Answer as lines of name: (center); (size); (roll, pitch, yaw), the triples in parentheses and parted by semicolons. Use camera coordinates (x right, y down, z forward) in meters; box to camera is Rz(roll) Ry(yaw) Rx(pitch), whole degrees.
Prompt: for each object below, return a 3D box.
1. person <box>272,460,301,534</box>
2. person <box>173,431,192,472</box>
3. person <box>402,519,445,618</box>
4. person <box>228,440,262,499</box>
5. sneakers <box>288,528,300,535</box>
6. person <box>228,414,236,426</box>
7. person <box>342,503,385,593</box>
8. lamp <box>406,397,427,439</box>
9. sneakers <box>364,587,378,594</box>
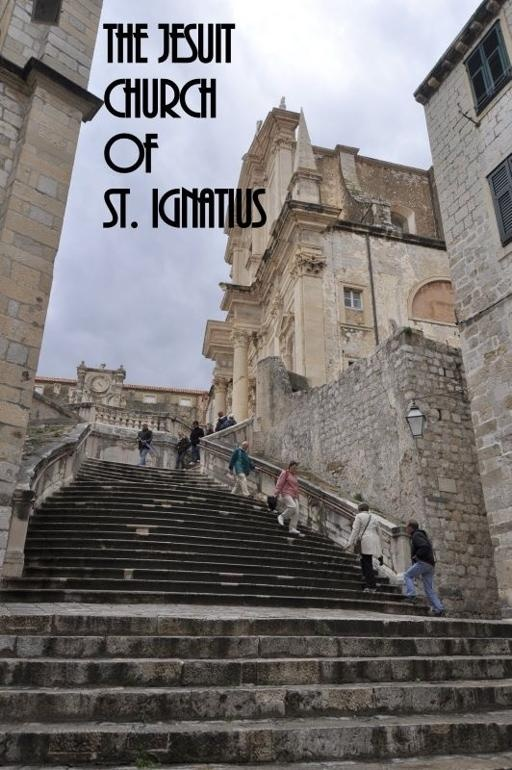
person: (0.591, 2.122, 9.825); (0.476, 1.277, 1.015); (2, -17, 3)
person: (-2.620, 2.410, 18.866); (0.561, 0.643, 1.577); (21, 12, -1)
person: (2.320, 2.534, 7.440); (0.381, 1.218, 0.706); (9, -18, -21)
person: (-0.274, 2.090, 12.851); (0.857, 1.638, 0.702); (-15, -26, 30)
sneakers: (0.679, 2.627, 9.468); (0.190, 0.112, 0.249); (1, -18, 6)
person: (-1.009, 1.502, 22.558); (0.364, 0.444, 0.962); (2, -1, -7)
person: (1.722, 2.519, 8.380); (0.498, 1.322, 1.296); (-1, -18, 13)
lamp: (2.825, 0.573, 9.411); (0.265, 0.742, 0.532); (-4, -19, 20)
sneakers: (1.650, 2.970, 7.707); (0.182, 0.076, 0.393); (-1, -18, 11)
